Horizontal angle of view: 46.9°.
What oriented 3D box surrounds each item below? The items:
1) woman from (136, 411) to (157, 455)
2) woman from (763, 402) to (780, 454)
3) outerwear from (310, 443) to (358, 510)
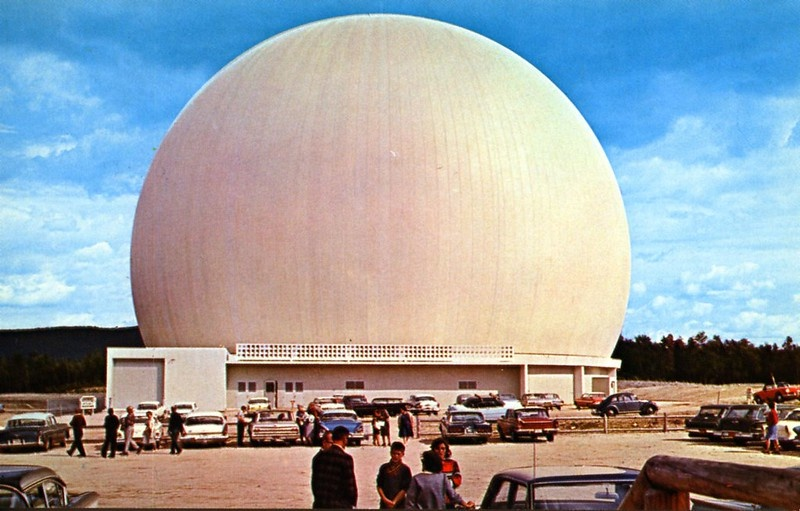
[{"bbox_3d":[-13.280,9.182,48.811,0.827,1.968,0.856,14,13,39],"label":"woman"},{"bbox_3d":[18.223,8.433,44.919,0.662,2.448,1.168,2,2,23],"label":"woman"},{"bbox_3d":[-2.192,7.311,30.298,1.465,2.043,0.765,2,2,1],"label":"outerwear"}]
